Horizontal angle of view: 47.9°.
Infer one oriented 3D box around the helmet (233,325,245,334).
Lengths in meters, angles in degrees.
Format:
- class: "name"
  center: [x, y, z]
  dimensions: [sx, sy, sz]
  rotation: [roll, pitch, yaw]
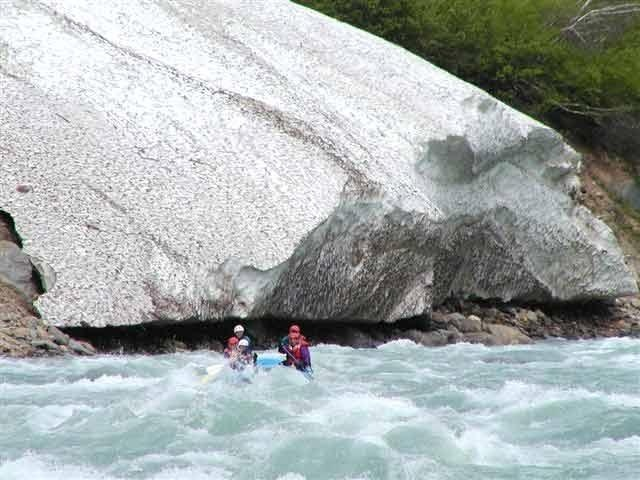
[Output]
- class: "helmet"
  center: [-1.217, 1.345, 10.946]
  dimensions: [0.132, 0.180, 0.153]
  rotation: [-4, 75, -12]
